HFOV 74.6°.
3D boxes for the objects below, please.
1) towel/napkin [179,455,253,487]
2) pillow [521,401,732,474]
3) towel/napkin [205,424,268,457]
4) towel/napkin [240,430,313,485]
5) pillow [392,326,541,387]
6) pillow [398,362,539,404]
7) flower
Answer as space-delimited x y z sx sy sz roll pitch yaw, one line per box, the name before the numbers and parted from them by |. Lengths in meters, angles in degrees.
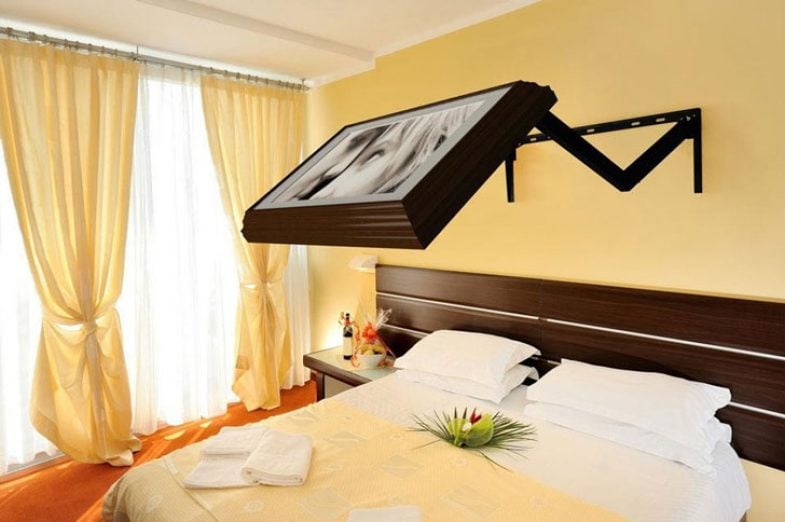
towel/napkin | -0.897 1.089 2.651 0.207 0.053 0.176 0 0 -15
pillow | 1.265 0.935 2.803 0.612 0.078 0.401 6 10 28
towel/napkin | -0.864 0.984 2.818 0.187 0.050 0.170 -4 3 12
towel/napkin | -0.631 1.044 2.716 0.333 0.102 0.401 5 8 -21
pillow | 0.527 0.646 3.587 0.768 0.190 0.949 -20 11 -35
pillow | 0.484 0.798 3.349 0.480 0.075 0.350 3 1 30
flower | 0.516 0.969 2.932 0.389 0.140 0.389 6 -1 38
